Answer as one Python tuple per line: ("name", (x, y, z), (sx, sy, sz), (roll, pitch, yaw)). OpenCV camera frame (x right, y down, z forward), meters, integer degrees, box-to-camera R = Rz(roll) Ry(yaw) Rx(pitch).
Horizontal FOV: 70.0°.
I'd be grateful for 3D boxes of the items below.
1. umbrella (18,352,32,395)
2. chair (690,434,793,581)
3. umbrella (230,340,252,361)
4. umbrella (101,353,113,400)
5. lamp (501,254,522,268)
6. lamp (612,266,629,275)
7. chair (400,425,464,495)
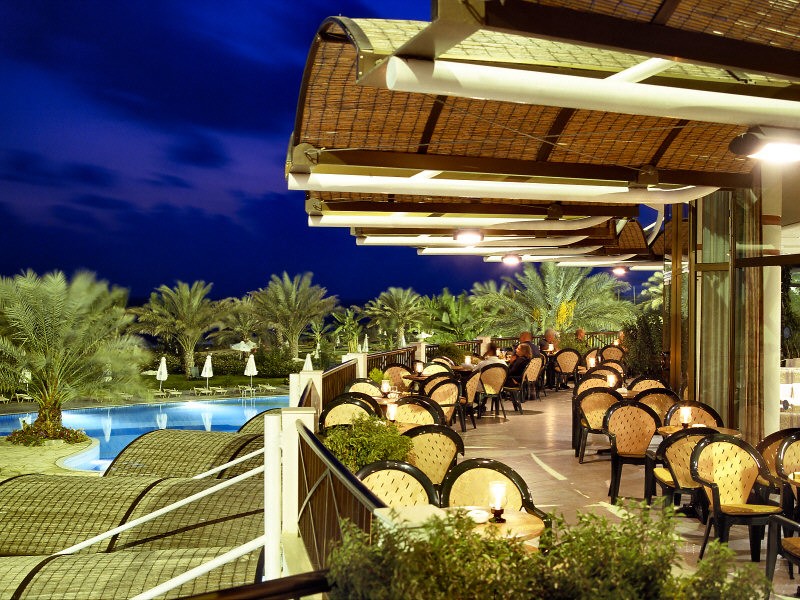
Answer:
("umbrella", (-8.890, 1.785, 13.594), (0.240, 0.957, 0.505), (3, -8, -32))
("chair", (3.063, 1.809, 5.199), (0.698, 1.110, 0.953), (-4, -7, 30))
("umbrella", (-8.015, 2.512, 29.221), (1.249, 0.449, 1.111), (6, 8, -11))
("umbrella", (-7.283, 1.955, 14.215), (0.274, 1.024, 0.624), (3, -7, -27))
("lamp", (3.856, -1.369, 19.683), (0.852, 0.457, 0.754), (-1, 1, -12))
("lamp", (9.343, -1.253, 24.270), (0.700, 0.207, 0.586), (-2, -1, 21))
("chair", (0.362, 1.599, 5.903), (0.780, 0.550, 0.736), (-1, 23, -4))
